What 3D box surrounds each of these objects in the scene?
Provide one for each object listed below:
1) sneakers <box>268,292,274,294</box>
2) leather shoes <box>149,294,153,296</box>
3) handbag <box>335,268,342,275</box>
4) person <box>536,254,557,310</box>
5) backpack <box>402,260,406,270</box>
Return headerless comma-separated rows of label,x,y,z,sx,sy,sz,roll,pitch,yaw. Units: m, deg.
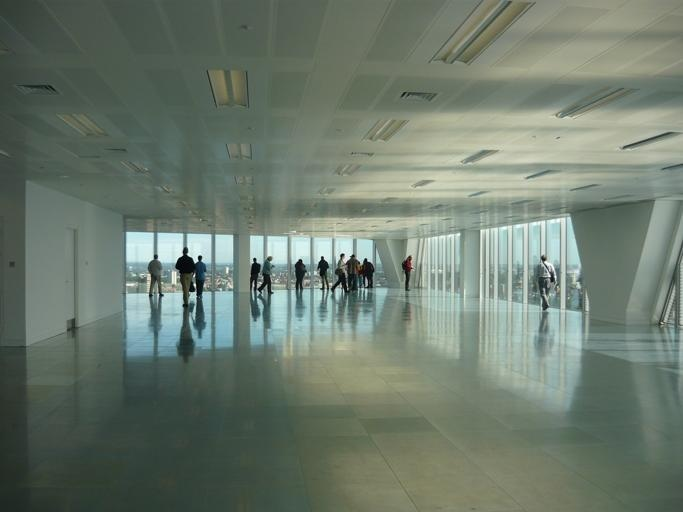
sneakers,-3.929,2.025,29.397,0.261,0.144,0.280,14,4,20
leather shoes,-10.245,2.124,28.487,0.143,0.138,0.255,12,-12,-13
handbag,-0.167,0.850,29.352,0.526,0.286,0.359,5,-2,-37
person,7.758,1.026,19.987,0.625,2.080,1.413,0,-1,20
backpack,3.775,0.596,31.561,0.139,0.439,0.438,0,-1,13
